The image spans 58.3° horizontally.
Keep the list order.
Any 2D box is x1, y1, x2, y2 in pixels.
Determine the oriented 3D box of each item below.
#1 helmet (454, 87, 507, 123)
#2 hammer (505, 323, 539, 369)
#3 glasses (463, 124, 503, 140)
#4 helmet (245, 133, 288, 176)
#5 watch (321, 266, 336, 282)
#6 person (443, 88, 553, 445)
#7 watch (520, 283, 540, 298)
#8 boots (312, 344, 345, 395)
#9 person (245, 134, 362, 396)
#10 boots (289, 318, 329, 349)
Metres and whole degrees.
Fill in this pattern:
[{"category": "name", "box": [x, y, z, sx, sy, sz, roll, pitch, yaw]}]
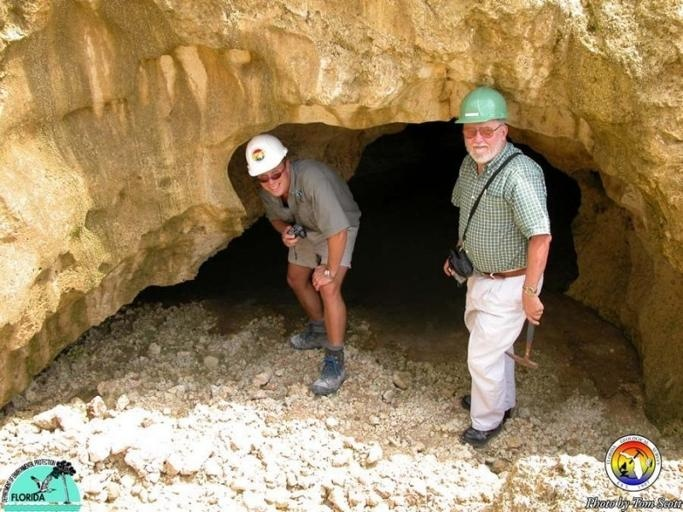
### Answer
[{"category": "helmet", "box": [0.761, -0.839, 3.410, 0.259, 0.190, 0.340, 6, 14, 34]}, {"category": "hammer", "box": [1.126, 0.573, 3.843, 0.308, 0.352, 0.061, 31, 68, 26]}, {"category": "glasses", "box": [0.767, -0.682, 3.354, 0.205, 0.081, 0.099, 5, 29, 15]}, {"category": "helmet", "box": [-0.469, -0.620, 3.837, 0.239, 0.262, 0.221, -8, 28, -11]}, {"category": "watch", "box": [-0.082, 0.113, 3.958, 0.080, 0.085, 0.072, -4, -8, 33]}, {"category": "person", "box": [0.868, 0.092, 3.543, 0.499, 1.969, 0.718, -1, 27, 3]}, {"category": "watch", "box": [1.016, 0.182, 3.268, 0.062, 0.071, 0.067, 3, 3, 4]}, {"category": "boots", "box": [-0.077, 0.764, 4.175, 0.138, 0.256, 0.369, 1, 13, 26]}, {"category": "person", "box": [-0.182, -0.019, 4.141, 0.663, 1.630, 0.805, -23, 33, -34]}, {"category": "boots", "box": [-0.228, 0.574, 4.520, 0.288, 0.299, 0.155, 2, 11, 0]}]
